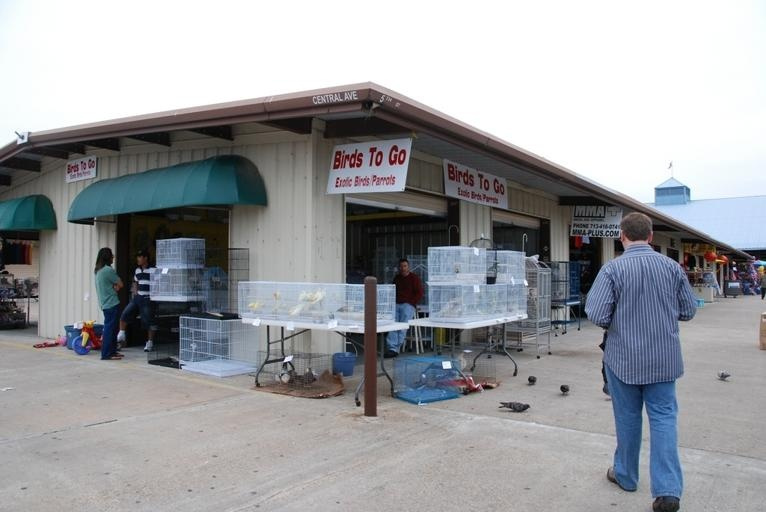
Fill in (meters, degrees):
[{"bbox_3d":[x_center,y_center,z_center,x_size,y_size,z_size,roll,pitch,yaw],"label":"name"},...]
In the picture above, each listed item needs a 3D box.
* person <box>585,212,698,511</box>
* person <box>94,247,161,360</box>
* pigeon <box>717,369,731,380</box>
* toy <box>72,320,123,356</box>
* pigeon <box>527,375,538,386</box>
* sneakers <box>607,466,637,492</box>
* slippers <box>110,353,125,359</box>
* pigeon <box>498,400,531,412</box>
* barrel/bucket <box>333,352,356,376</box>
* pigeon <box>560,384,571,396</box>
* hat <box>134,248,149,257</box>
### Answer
[{"bbox_3d":[2.619,1.013,6.060,0.926,2.936,0.454,-4,-6,26],"label":"person"},{"bbox_3d":[-5.201,0.941,12.088,1.084,2.228,1.406,1,-6,-21],"label":"person"},{"bbox_3d":[5.842,2.063,10.342,0.141,0.180,0.410,-1,0,4],"label":"pigeon"},{"bbox_3d":[-6.039,1.751,12.793,0.677,0.760,1.328,-7,-9,21],"label":"toy"},{"bbox_3d":[2.466,2.069,9.917,0.150,0.132,0.122,-5,3,1],"label":"pigeon"},{"bbox_3d":[2.489,2.347,6.282,0.135,0.121,0.297,-3,15,-17],"label":"sneakers"},{"bbox_3d":[-5.226,1.984,11.834,0.223,0.121,0.367,1,-6,-17],"label":"slippers"},{"bbox_3d":[1.841,2.111,8.395,0.263,0.097,0.183,2,-5,27],"label":"pigeon"},{"bbox_3d":[-0.673,1.902,10.447,0.384,0.311,0.416,0,-7,0],"label":"barrel/bucket"},{"bbox_3d":[2.826,2.090,9.290,0.157,0.136,0.153,-2,-7,6],"label":"pigeon"},{"bbox_3d":[-5.229,-0.051,12.958,0.246,0.118,0.175,6,-7,-22],"label":"hat"}]
